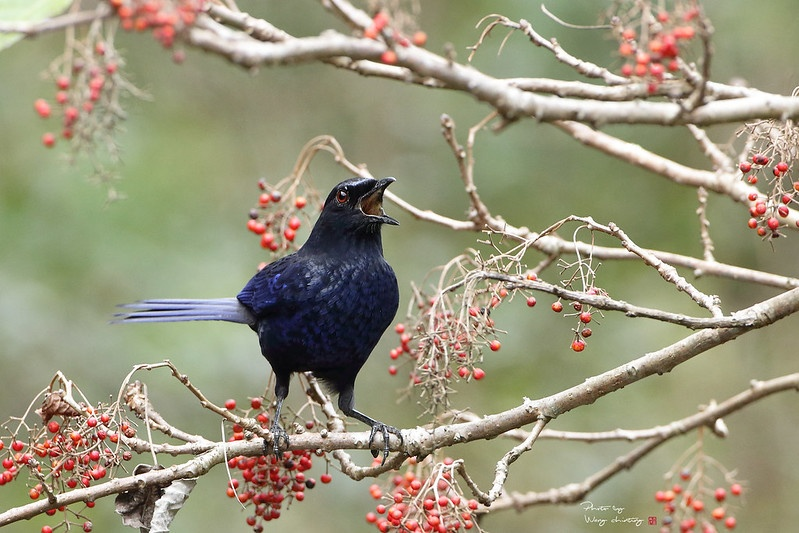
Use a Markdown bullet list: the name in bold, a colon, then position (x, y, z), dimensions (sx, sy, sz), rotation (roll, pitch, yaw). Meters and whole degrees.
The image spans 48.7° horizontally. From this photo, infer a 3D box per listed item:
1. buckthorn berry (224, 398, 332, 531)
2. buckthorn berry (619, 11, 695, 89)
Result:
- **buckthorn berry**: position (-0.708, 1.212, 5.190), dimensions (0.703, 0.577, 0.857), rotation (2, -84, -2)
- **buckthorn berry**: position (1.327, -0.993, 4.469), dimensions (0.402, 0.330, 0.438), rotation (2, -91, 29)
